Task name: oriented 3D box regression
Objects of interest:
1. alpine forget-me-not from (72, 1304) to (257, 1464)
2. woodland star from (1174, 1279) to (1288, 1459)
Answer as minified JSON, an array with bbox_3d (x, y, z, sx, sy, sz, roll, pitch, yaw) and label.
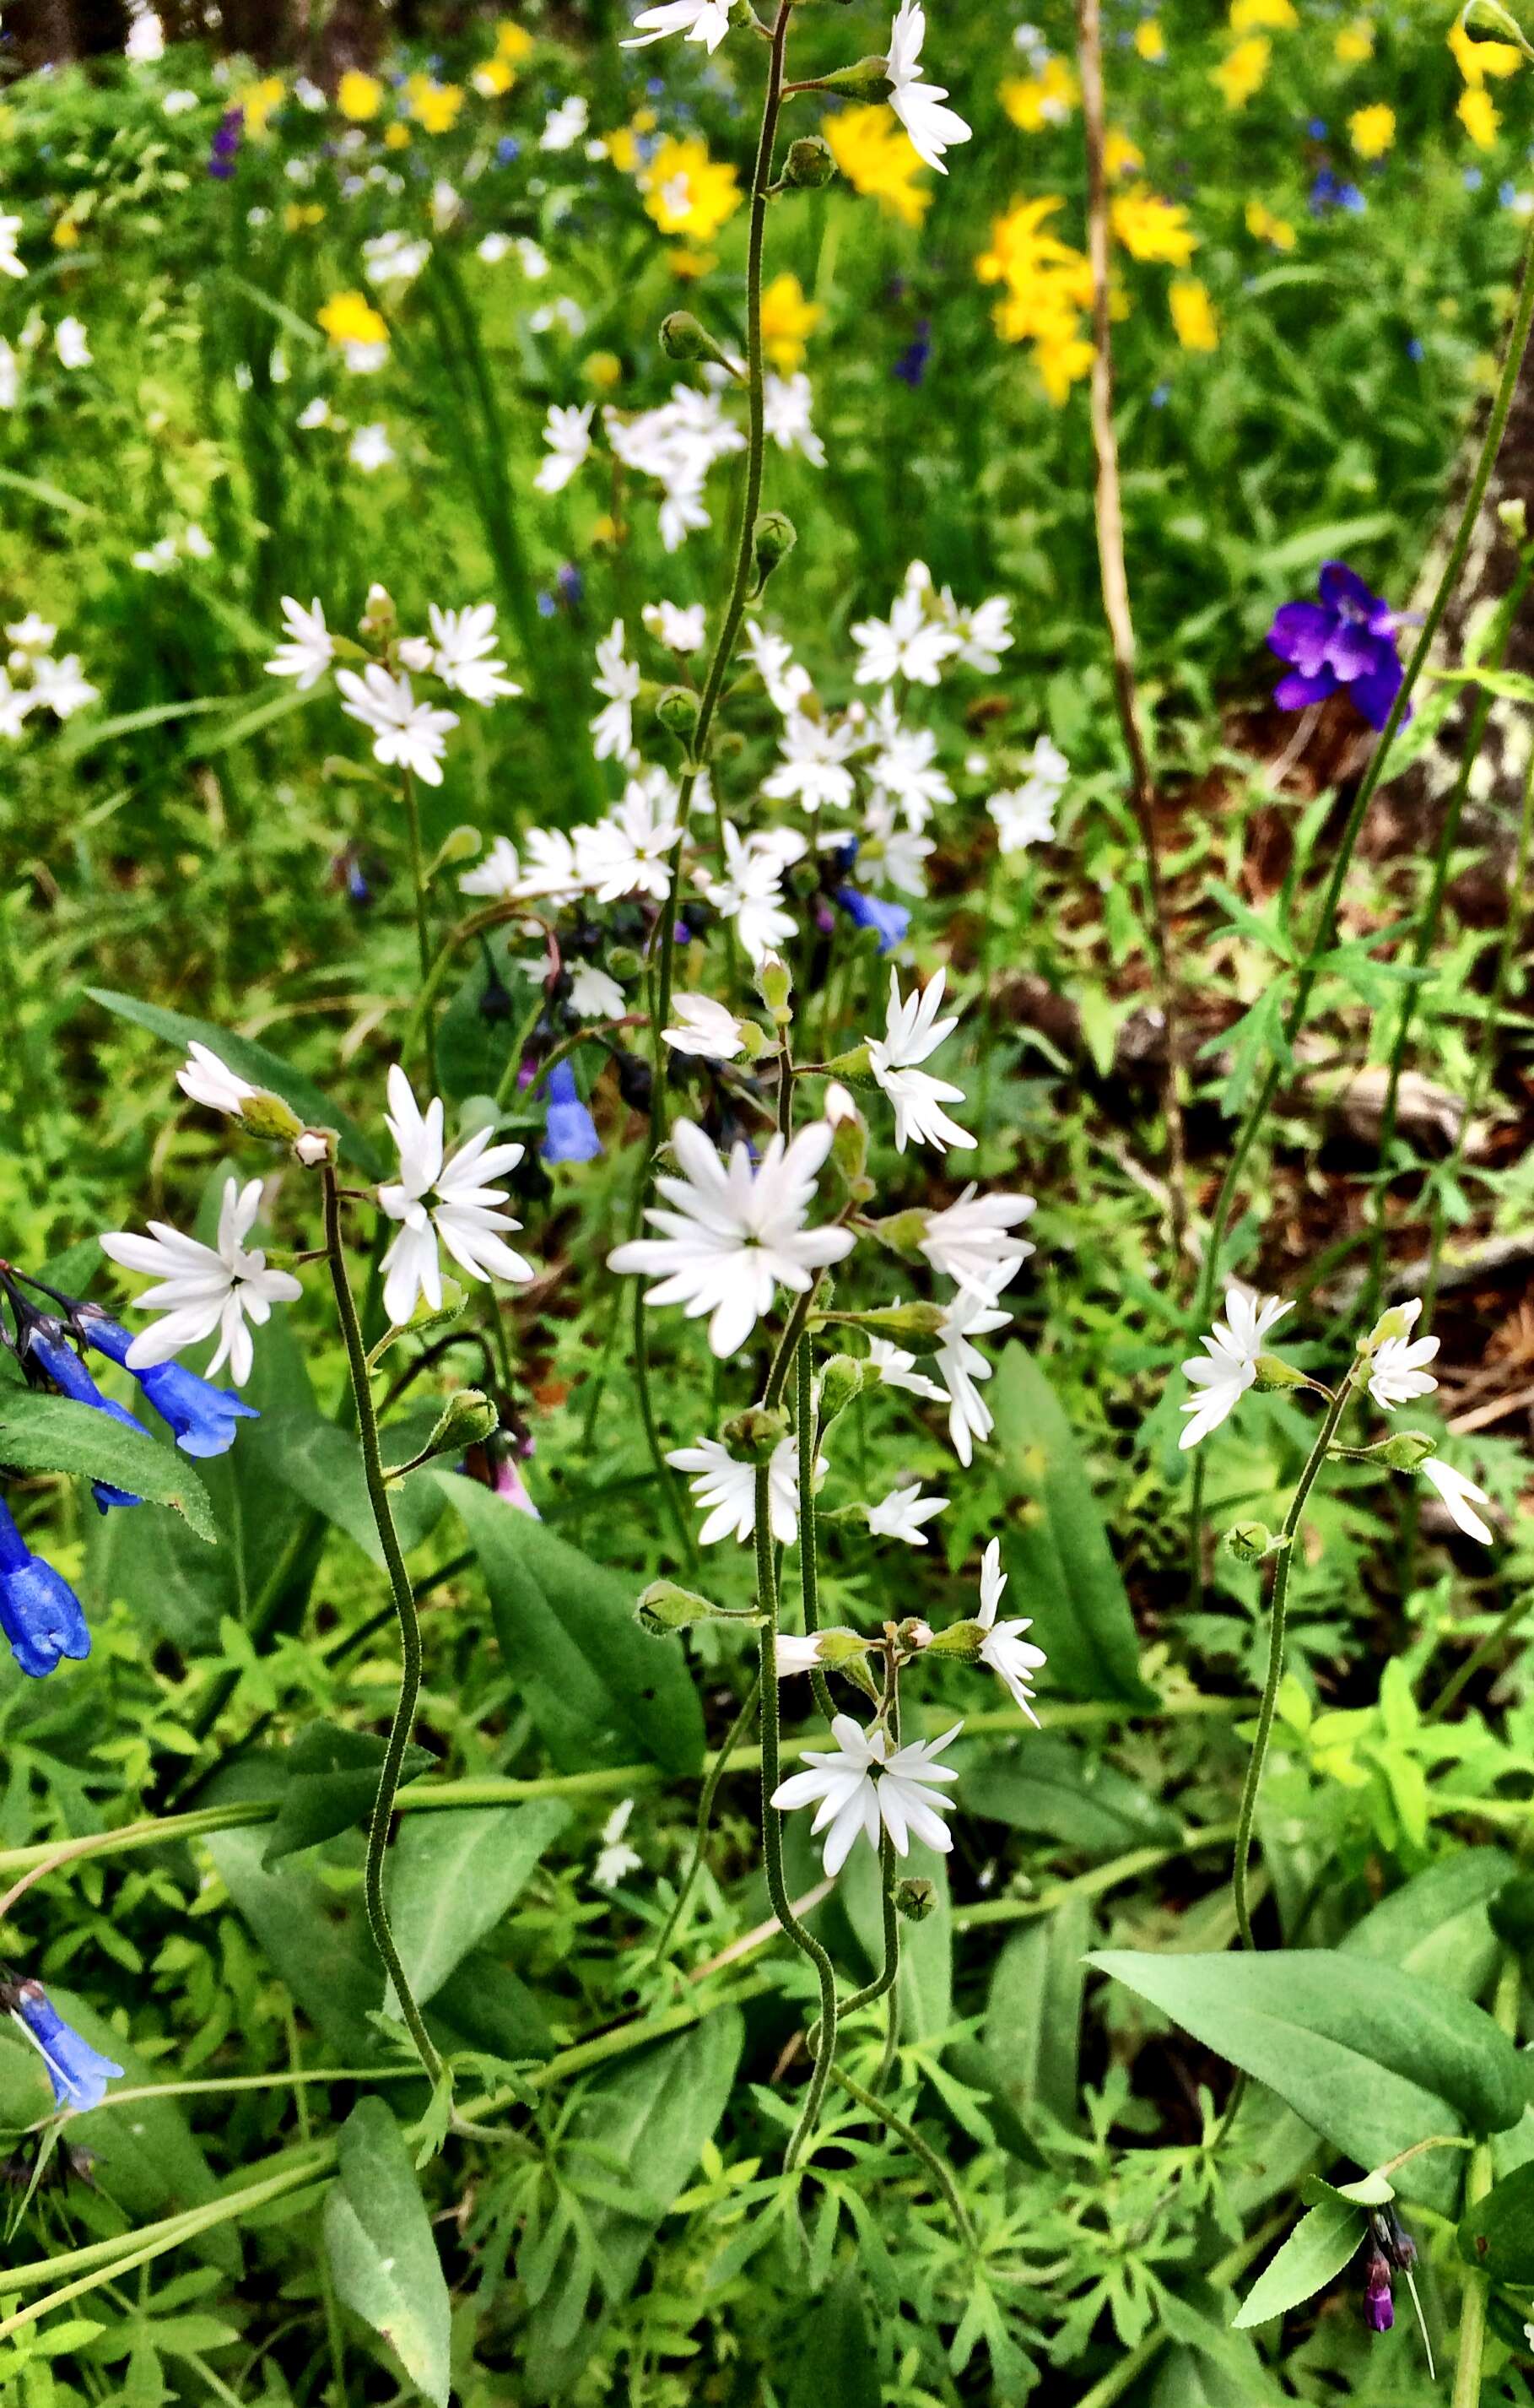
[{"bbox_3d":[-0.496,0.168,1.873,0.166,0.060,0.105,28,27,2],"label":"alpine forget-me-not"},{"bbox_3d":[0.477,0.177,2.251,0.121,0.235,0.114,-5,10,1],"label":"woodland star"}]
